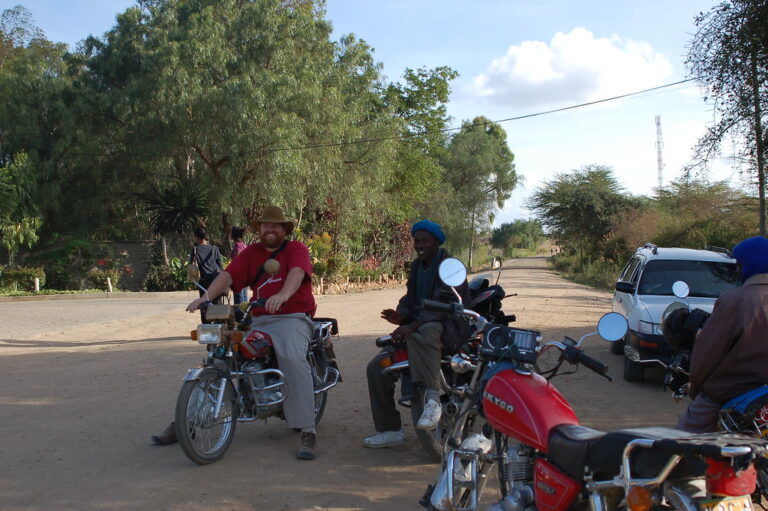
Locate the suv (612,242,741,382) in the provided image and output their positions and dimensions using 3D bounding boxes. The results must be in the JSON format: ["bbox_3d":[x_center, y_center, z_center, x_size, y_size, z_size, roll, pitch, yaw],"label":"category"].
[{"bbox_3d":[5.152,0.897,11.238,1.976,1.823,3.405,-1,-4,8],"label":"suv"}]

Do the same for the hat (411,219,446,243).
[{"bbox_3d":[0.589,-0.327,8.410,0.346,0.133,0.297,37,-17,-33],"label":"hat"}]

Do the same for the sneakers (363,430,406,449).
[{"bbox_3d":[0.011,2.448,8.692,0.580,0.282,0.215,2,3,-11],"label":"sneakers"}]

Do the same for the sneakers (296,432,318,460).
[{"bbox_3d":[-0.992,2.432,8.281,0.250,0.304,0.253,0,8,-3],"label":"sneakers"}]

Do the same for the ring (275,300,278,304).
[{"bbox_3d":[-1.351,0.592,8.086,0.036,0.039,0.009,13,8,7],"label":"ring"}]
